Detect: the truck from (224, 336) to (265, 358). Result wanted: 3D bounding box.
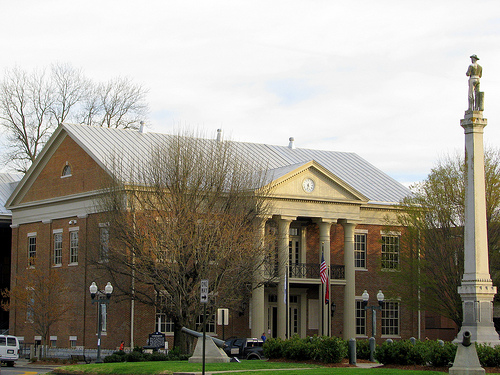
[{"bbox_3d":[-0.373,9.311,61.906,2.330,1.179,1.517,0,-2,-18],"label":"truck"}]

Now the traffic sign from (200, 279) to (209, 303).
[{"bbox_3d":[-2.077,4.710,48.322,0.303,1.087,0.616,0,-13,-10],"label":"traffic sign"}]

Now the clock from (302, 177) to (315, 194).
[{"bbox_3d":[3.696,-0.048,68.959,0.994,1.015,0.078,6,-11,-38],"label":"clock"}]
